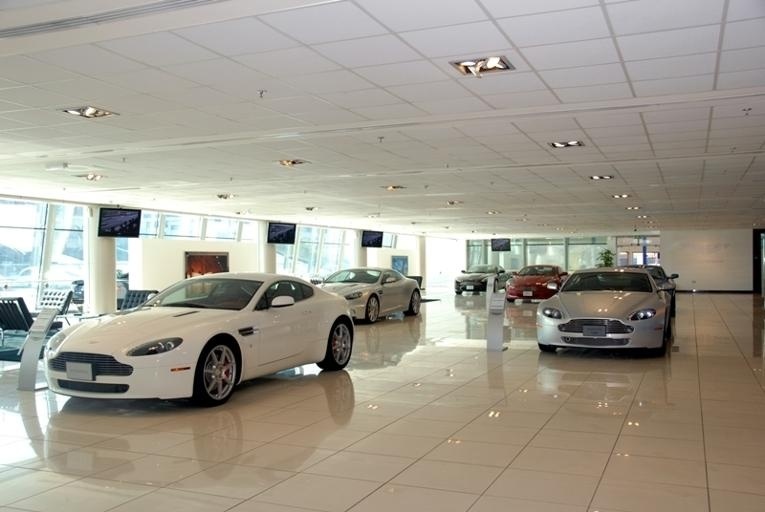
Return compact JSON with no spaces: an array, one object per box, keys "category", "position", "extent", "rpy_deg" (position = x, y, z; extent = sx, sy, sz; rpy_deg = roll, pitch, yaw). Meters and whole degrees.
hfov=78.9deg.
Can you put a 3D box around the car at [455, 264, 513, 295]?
[{"category":"car","position":[5.718,1.251,25.997],"extent":[2.061,0.872,3.941],"rpy_deg":[-4,-7,26]}]

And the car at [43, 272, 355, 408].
[{"category":"car","position":[-2.258,0.975,6.213],"extent":[1.952,0.773,3.042],"rpy_deg":[-2,-5,30]}]

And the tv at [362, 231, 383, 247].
[{"category":"tv","position":[-0.680,-1.103,29.484],"extent":[1.480,0.705,0.172],"rpy_deg":[1,-3,-25]}]

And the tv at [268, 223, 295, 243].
[{"category":"tv","position":[-5.125,-1.165,23.404],"extent":[1.486,0.728,0.146],"rpy_deg":[2,-3,-37]}]

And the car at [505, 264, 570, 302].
[{"category":"car","position":[6.875,0.957,20.471],"extent":[2.163,1.068,4.204],"rpy_deg":[3,10,27]}]

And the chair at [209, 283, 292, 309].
[{"category":"chair","position":[-2.000,0.538,6.583],"extent":[0.478,0.174,0.782],"rpy_deg":[3,2,37]}]

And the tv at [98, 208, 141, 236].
[{"category":"tv","position":[-9.512,-1.231,16.676],"extent":[1.468,0.754,0.184],"rpy_deg":[2,2,-37]}]

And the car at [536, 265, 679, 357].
[{"category":"car","position":[4.485,1.102,9.069],"extent":[2.381,0.889,3.744],"rpy_deg":[0,2,23]}]
